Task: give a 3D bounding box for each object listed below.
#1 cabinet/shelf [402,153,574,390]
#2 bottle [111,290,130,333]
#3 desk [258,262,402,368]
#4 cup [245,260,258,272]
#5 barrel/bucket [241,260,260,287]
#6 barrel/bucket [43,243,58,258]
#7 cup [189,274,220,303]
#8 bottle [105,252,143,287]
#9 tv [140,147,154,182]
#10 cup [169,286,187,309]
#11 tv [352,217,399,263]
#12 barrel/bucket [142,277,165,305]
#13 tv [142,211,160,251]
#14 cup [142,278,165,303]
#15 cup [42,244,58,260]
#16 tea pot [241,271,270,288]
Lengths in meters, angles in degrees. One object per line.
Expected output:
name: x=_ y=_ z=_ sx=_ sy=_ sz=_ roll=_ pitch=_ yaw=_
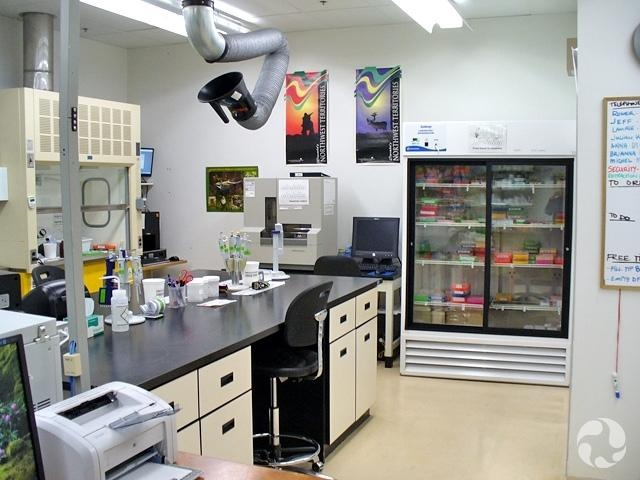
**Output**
cabinet/shelf: x=1.707 y=0.303 z=4.904 sx=1.952 sy=2.852 sz=0.962 roll=1 pitch=3 yaw=18
bottle: x=-1.113 y=0.390 z=2.734 sx=0.089 sy=0.230 sz=0.116 roll=-3 pitch=8 yaw=-23
desk: x=0.209 y=0.525 z=5.219 sx=1.226 sy=1.255 sz=0.960 roll=1 pitch=5 yaw=20
cup: x=-0.527 y=0.202 z=3.805 sx=0.073 sy=0.049 sz=0.077 roll=0 pitch=8 yaw=0
barrel/bucket: x=-0.537 y=0.262 z=3.794 sx=0.158 sy=0.185 sz=0.156 roll=2 pitch=4 yaw=0
barrel/bucket: x=-2.710 y=0.104 z=4.945 sx=0.131 sy=0.145 sz=0.127 roll=1 pitch=5 yaw=0
cup: x=-0.830 y=0.354 z=3.496 sx=0.118 sy=0.113 sz=0.208 roll=0 pitch=0 yaw=22
bottle: x=-1.251 y=0.185 z=3.163 sx=0.215 sy=0.303 sz=0.217 roll=-2 pitch=2 yaw=0
tv: x=-2.259 y=-1.002 z=6.399 sx=0.154 sy=0.410 sz=0.439 roll=-3 pitch=8 yaw=-21
cup: x=-0.955 y=0.369 z=3.288 sx=0.144 sy=0.175 sz=0.148 roll=0 pitch=0 yaw=0
tv: x=0.612 y=0.002 z=5.383 sx=0.427 sy=0.419 sz=0.174 roll=-1 pitch=-13 yaw=17
barrel/bucket: x=-1.105 y=0.335 z=3.198 sx=0.141 sy=0.166 sz=0.149 roll=0 pitch=0 yaw=0
tv: x=-2.142 y=-0.117 z=6.217 sx=0.098 sy=0.482 sz=0.305 roll=4 pitch=9 yaw=26
cup: x=-1.056 y=0.324 z=3.195 sx=0.141 sy=0.164 sz=0.149 roll=0 pitch=1 yaw=0
cup: x=-2.711 y=0.108 z=4.947 sx=0.128 sy=0.142 sz=0.125 roll=1 pitch=5 yaw=0
tea pot: x=-0.512 y=0.287 z=3.877 sx=0.158 sy=0.134 sz=0.159 roll=-1 pitch=1 yaw=0
